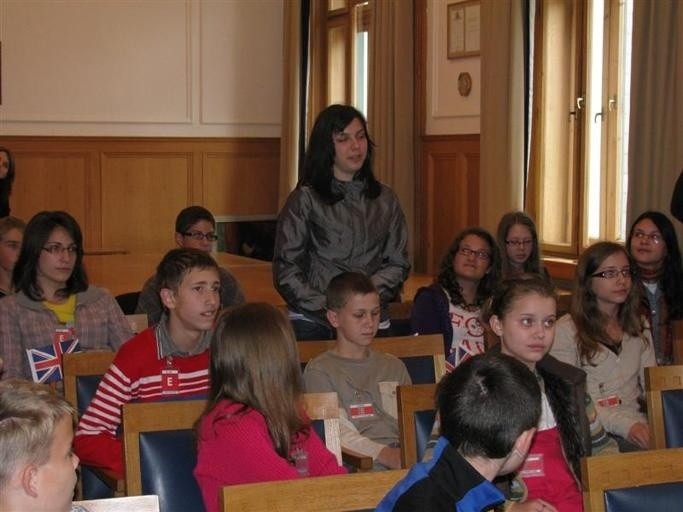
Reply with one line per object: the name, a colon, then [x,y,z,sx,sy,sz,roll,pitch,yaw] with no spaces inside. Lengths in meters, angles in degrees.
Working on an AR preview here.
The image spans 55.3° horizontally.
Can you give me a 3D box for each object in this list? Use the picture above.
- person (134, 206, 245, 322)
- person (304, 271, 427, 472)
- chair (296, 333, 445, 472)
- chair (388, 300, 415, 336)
person: [-0.943,0.053,4.148,0.790,0.793,0.325,-7,18,-38]
person: [0.141,0.531,2.856,0.512,0.899,0.576,1,-3,-44]
chair: [0.216,0.557,2.802,0.463,0.731,0.483,0,-2,-21]
chair: [0.345,0.370,3.881,0.185,0.283,0.151,0,-9,-4]
